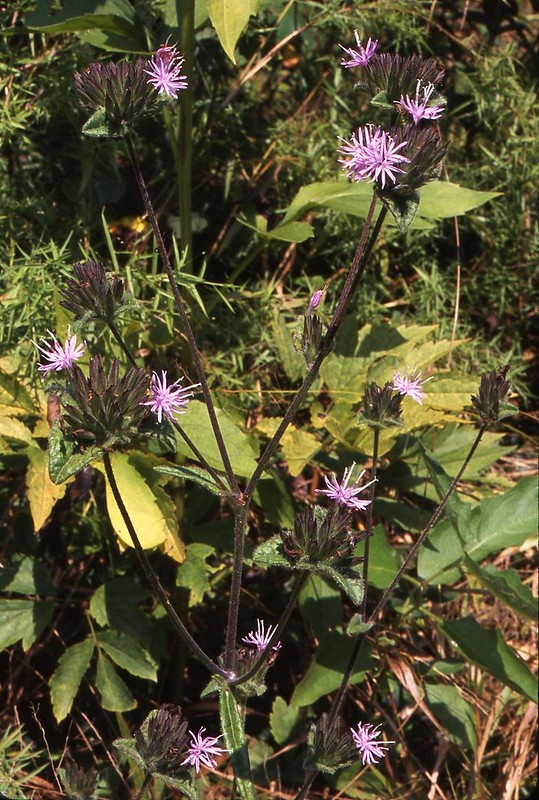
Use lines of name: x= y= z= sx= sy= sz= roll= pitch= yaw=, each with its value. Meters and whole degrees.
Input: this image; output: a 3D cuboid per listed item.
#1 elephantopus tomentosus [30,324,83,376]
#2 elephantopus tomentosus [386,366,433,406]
elephantopus tomentosus: x=-0.377 y=-0.091 z=1.245 sx=0.096 sy=0.058 sz=0.095 roll=-34 pitch=33 yaw=-1
elephantopus tomentosus: x=0.271 y=-0.025 z=1.352 sx=0.069 sy=0.036 sz=0.062 roll=26 pitch=41 yaw=1
